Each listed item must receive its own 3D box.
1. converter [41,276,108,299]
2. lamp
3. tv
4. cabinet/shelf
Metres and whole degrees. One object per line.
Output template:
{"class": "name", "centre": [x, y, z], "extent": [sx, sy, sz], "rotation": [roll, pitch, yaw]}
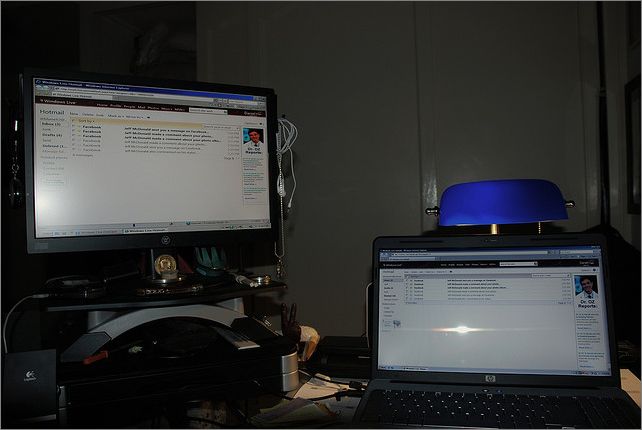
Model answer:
{"class": "converter", "centre": [-0.784, 0.231, 1.651], "extent": [0.123, 0.040, 0.097], "rotation": [-1, 0, -2]}
{"class": "lamp", "centre": [0.656, -0.040, 1.874], "extent": [0.515, 0.162, 0.302], "rotation": [-3, -4, 10]}
{"class": "tv", "centre": [-0.543, -0.173, 1.732], "extent": [0.807, 0.571, 0.037], "rotation": [0, 1, -17]}
{"class": "cabinet/shelf", "centre": [-0.479, 0.418, 1.685], "extent": [0.757, 0.361, 0.382], "rotation": [-1, 1, -23]}
